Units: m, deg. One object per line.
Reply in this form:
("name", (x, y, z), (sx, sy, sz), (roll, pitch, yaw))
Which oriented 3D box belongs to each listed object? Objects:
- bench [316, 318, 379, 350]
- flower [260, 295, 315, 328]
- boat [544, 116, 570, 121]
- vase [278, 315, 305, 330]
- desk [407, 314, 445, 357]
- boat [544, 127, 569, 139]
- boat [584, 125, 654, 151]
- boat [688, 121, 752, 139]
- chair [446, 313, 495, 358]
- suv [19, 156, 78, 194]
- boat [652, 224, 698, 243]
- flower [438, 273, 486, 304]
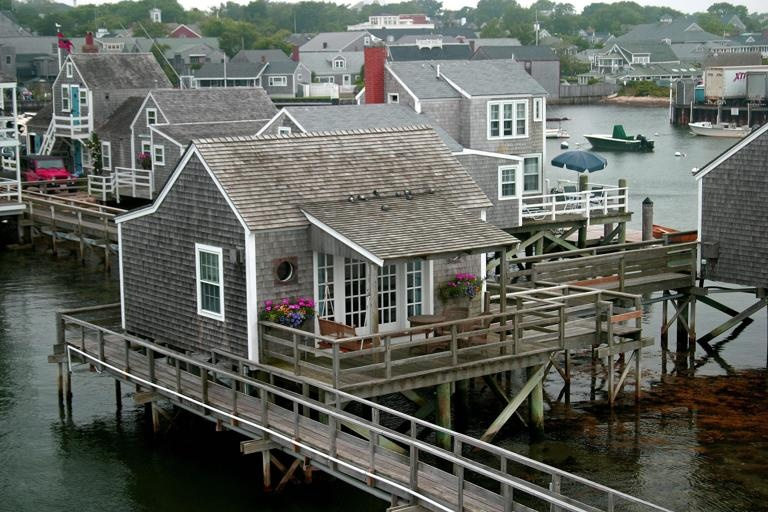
("bench", (-1.104, 2.226, 33.955), (1.125, 0.814, 1.881), (-10, 14, -39))
("flower", (-2.730, 1.559, 34.304), (1.157, 0.405, 1.051), (4, 8, 25))
("boat", (19.165, -14.867, 136.000), (2.320, 0.132, 6.088), (1, 10, 7))
("vase", (-2.540, 1.867, 34.379), (0.808, 0.410, 0.319), (-8, 14, -34))
("desk", (1.187, 2.243, 34.655), (1.227, 0.926, 1.112), (-4, 7, -25))
("boat", (15.616, -10.768, 111.614), (1.619, 0.780, 2.375), (-6, 12, -28))
("boat", (19.730, -9.476, 103.270), (2.447, 2.237, 6.877), (-12, 16, -35))
("boat", (30.923, -11.335, 113.276), (3.146, 1.287, 8.370), (-2, 10, -11))
("chair", (2.361, 2.239, 34.628), (1.373, 1.482, 1.285), (-1, 2, -40))
("suv", (-17.010, -4.107, 61.726), (2.028, 1.375, 3.427), (-16, 21, -34))
("boat", (10.954, -0.761, 47.258), (0.920, 0.442, 3.500), (-5, 5, -13))
("flower", (2.201, 0.943, 35.784), (1.077, 0.429, 1.071), (5, 10, 41))
